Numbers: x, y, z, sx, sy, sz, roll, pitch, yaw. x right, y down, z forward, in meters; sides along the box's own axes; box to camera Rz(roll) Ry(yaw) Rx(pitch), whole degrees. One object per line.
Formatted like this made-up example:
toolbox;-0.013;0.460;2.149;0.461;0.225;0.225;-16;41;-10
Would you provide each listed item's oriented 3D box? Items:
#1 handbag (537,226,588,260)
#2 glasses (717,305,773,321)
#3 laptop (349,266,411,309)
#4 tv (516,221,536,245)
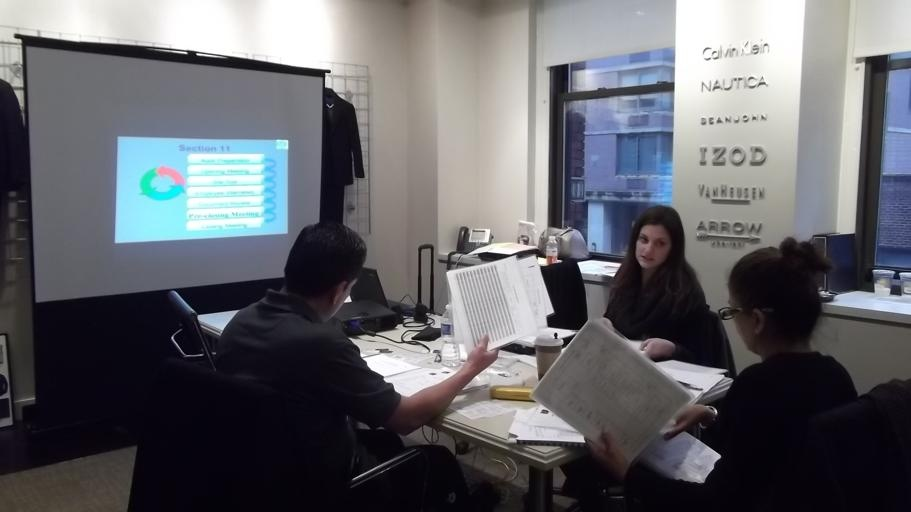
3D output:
handbag;1.033;-0.129;5.728;0.293;0.287;0.545;-8;8;-39
glasses;1.407;0.277;2.790;0.179;0.046;0.172;1;1;2
laptop;-0.586;0.263;4.488;0.435;0.275;0.320;6;11;45
tv;0.703;-0.221;5.799;0.261;0.332;0.037;3;2;29
